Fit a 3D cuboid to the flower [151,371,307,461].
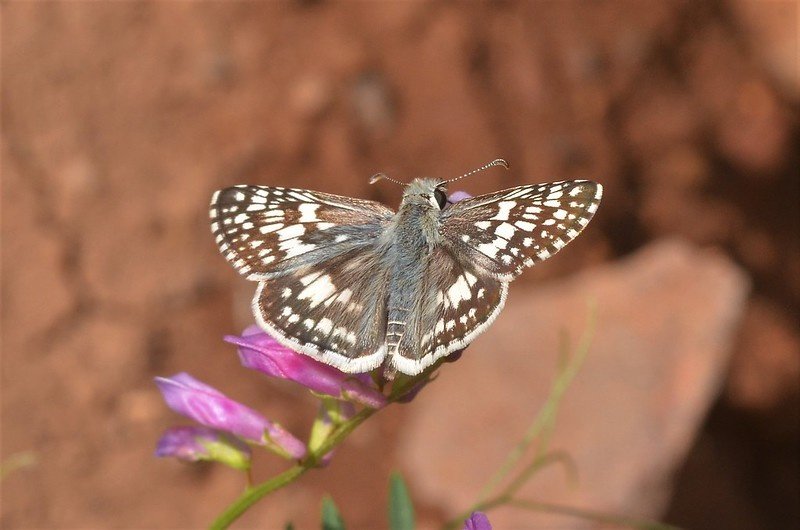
[{"bbox_3d":[-0.557,0.519,2.695,0.499,0.127,0.151,32,66,3],"label":"flower"}]
